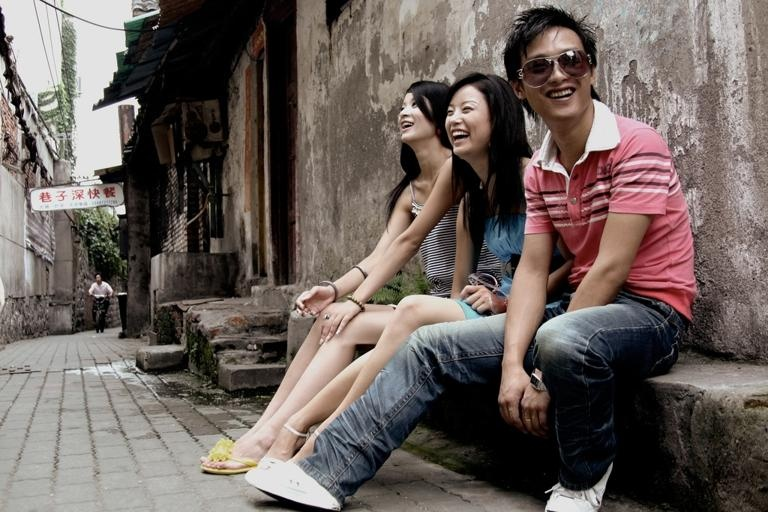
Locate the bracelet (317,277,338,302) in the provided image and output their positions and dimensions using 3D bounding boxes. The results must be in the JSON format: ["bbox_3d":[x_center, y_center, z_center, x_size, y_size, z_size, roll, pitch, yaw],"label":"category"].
[{"bbox_3d":[-0.310,0.190,4.228,0.030,0.113,0.116,-27,-16,-30],"label":"bracelet"}]

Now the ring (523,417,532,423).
[{"bbox_3d":[0.642,0.734,3.257,0.037,0.026,0.007,-2,-3,30],"label":"ring"}]

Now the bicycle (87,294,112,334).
[{"bbox_3d":[-8.160,1.471,20.715,0.689,0.885,1.490,0,21,-23],"label":"bicycle"}]

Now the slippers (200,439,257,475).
[{"bbox_3d":[-0.830,1.079,3.859,0.265,0.119,0.178,3,3,-7],"label":"slippers"}]

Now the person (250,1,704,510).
[{"bbox_3d":[0.610,-0.006,3.359,1.532,2.318,0.698,-1,-2,24],"label":"person"}]

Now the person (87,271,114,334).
[{"bbox_3d":[-8.180,1.631,20.960,0.701,1.066,1.771,-1,-8,-25],"label":"person"}]

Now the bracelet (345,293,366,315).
[{"bbox_3d":[-0.151,0.254,3.927,0.094,0.034,0.080,42,4,-13],"label":"bracelet"}]

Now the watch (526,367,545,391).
[{"bbox_3d":[0.686,0.559,3.256,0.089,0.066,0.099,16,8,-15],"label":"watch"}]

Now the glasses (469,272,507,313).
[{"bbox_3d":[0.552,0.177,3.798,0.191,0.150,0.071,20,9,21],"label":"glasses"}]
